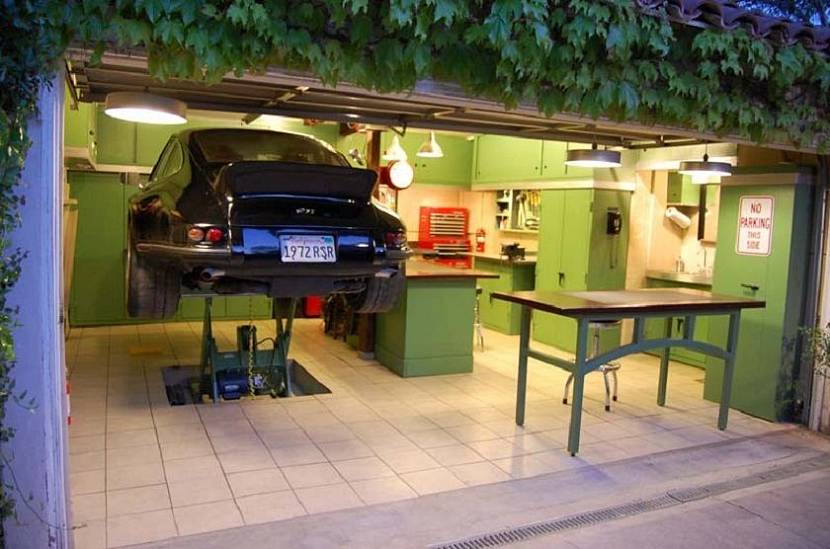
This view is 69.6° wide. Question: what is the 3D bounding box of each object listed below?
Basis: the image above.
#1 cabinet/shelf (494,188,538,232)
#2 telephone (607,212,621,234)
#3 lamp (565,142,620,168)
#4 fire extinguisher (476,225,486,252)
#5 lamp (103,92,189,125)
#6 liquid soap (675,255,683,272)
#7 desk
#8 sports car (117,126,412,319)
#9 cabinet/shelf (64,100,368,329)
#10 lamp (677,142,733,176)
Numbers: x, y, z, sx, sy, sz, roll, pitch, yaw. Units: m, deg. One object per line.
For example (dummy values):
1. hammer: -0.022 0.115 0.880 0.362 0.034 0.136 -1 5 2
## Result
1. cabinet/shelf: 1.832 -1.163 10.679 0.259 0.723 0.848 1 2 -32
2. telephone: 2.835 -0.722 8.467 0.301 0.347 0.102 -6 14 -38
3. lamp: 1.884 -1.269 6.283 0.454 0.224 0.521 9 12 32
4. fire extinguisher: 1.294 -0.690 11.682 0.175 0.458 0.360 2 11 -5
5. lamp: -2.147 -1.299 4.654 0.420 0.087 0.412 6 8 31
6. liquid soap: 3.926 -0.155 8.846 0.135 0.187 0.244 7 12 23
7. desk: 2.193 0.929 6.144 2.739 1.179 1.081 1 3 -26
8. sports car: -2.034 -0.849 6.511 2.330 1.383 4.361 -3 14 -35
9. cabinet/shelf: -2.205 -0.659 6.114 2.956 1.493 4.976 -2 10 -19
10. lamp: 3.030 -1.142 6.238 0.485 0.221 0.288 -2 11 -21
